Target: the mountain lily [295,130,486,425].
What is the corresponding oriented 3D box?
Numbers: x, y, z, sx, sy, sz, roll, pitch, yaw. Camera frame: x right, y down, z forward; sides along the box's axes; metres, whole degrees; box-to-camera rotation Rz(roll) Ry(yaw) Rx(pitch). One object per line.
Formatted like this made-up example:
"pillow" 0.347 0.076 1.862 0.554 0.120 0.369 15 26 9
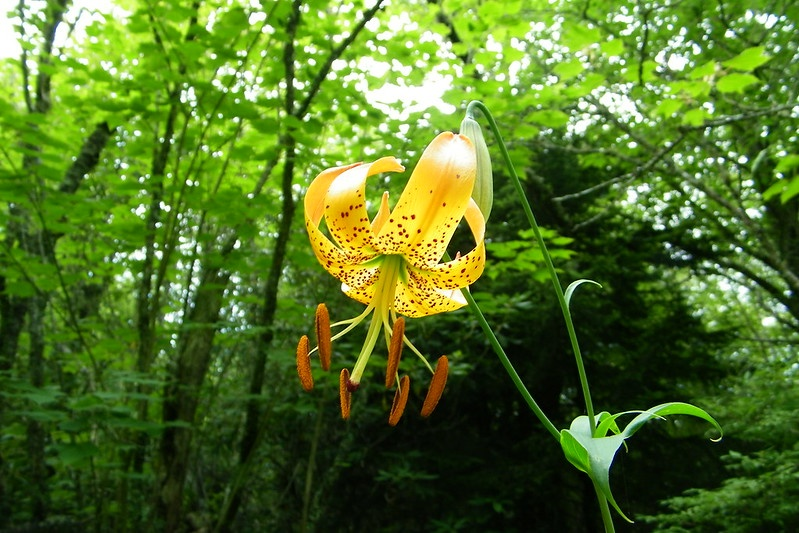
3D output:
"mountain lily" -0.014 -0.023 4.124 1.047 1.776 0.971 6 -22 4
